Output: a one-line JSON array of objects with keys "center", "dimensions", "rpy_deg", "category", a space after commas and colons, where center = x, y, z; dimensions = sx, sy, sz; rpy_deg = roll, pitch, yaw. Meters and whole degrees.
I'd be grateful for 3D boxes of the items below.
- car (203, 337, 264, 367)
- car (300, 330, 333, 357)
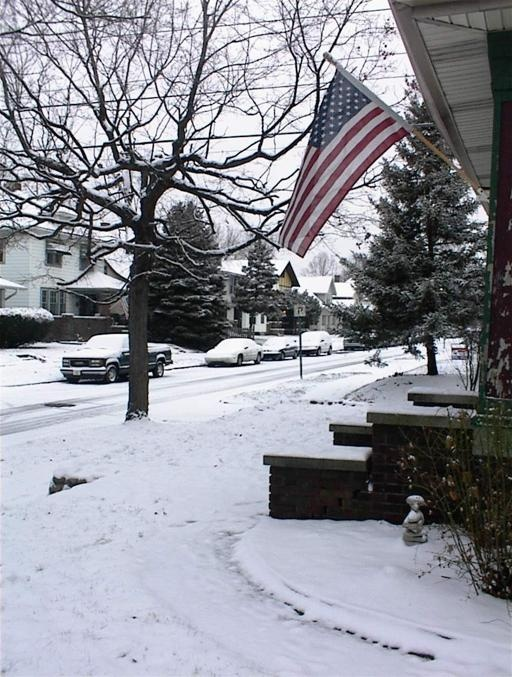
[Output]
[{"center": [-0.878, 0.582, 31.327], "dimensions": [1.016, 0.812, 2.610], "rpy_deg": [-3, -4, 19], "category": "car"}, {"center": [3.265, 0.237, 40.449], "dimensions": [1.124, 0.890, 1.981], "rpy_deg": [-3, -6, 19], "category": "car"}]
